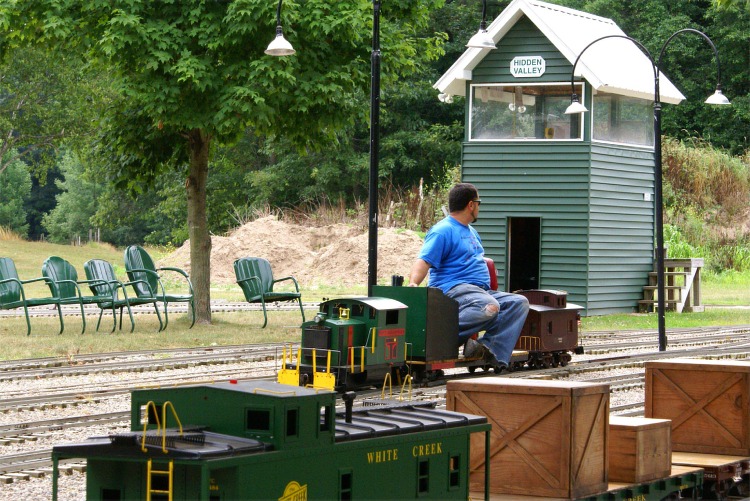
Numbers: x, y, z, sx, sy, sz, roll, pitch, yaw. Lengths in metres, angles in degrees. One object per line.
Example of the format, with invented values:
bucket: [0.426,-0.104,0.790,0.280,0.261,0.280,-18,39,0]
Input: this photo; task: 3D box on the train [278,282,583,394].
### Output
train: [1.931,2.065,44.393,8.488,2.713,1.947,-4,4,-31]
